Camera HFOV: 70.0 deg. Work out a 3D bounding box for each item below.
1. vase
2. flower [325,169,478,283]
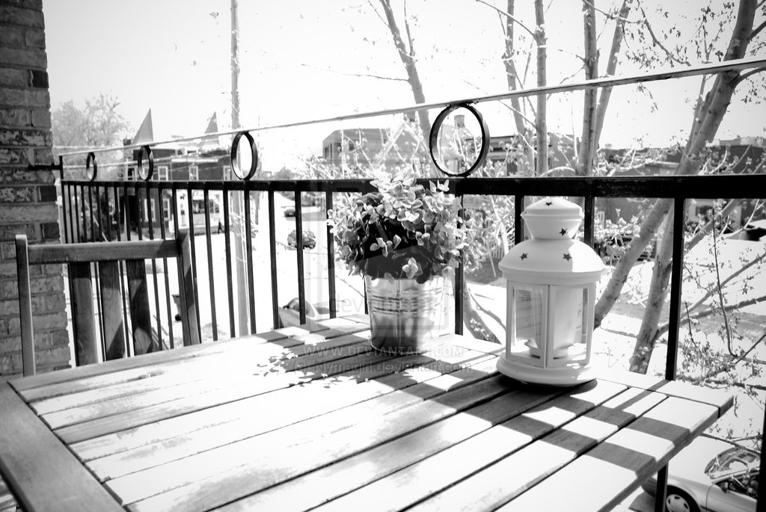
[{"bbox_3d":[0.079,0.208,2.040,0.291,0.243,0.256,0,1,40],"label":"vase"},{"bbox_3d":[0.080,-0.089,1.996,0.407,0.301,0.417,-3,9,-26],"label":"flower"}]
